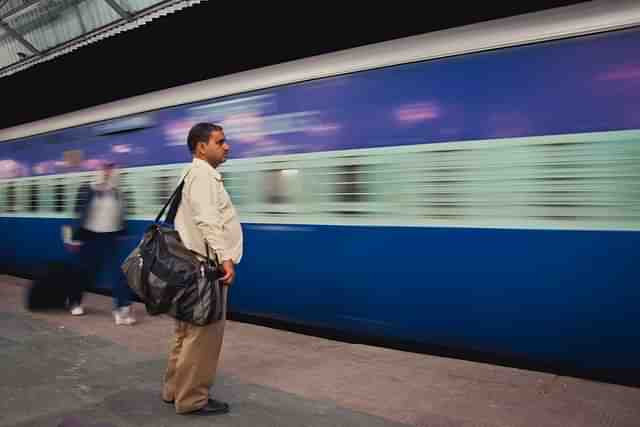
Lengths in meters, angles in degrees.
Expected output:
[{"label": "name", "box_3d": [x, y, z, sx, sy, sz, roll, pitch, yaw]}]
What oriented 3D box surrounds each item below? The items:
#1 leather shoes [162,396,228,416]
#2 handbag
[{"label": "leather shoes", "box_3d": [-1.044, 1.676, 3.628, 0.414, 0.121, 0.128, -1, 2, -12]}, {"label": "handbag", "box_3d": [-1.262, 0.494, 3.646, 1.088, 0.605, 0.641, 29, 24, 37]}]
